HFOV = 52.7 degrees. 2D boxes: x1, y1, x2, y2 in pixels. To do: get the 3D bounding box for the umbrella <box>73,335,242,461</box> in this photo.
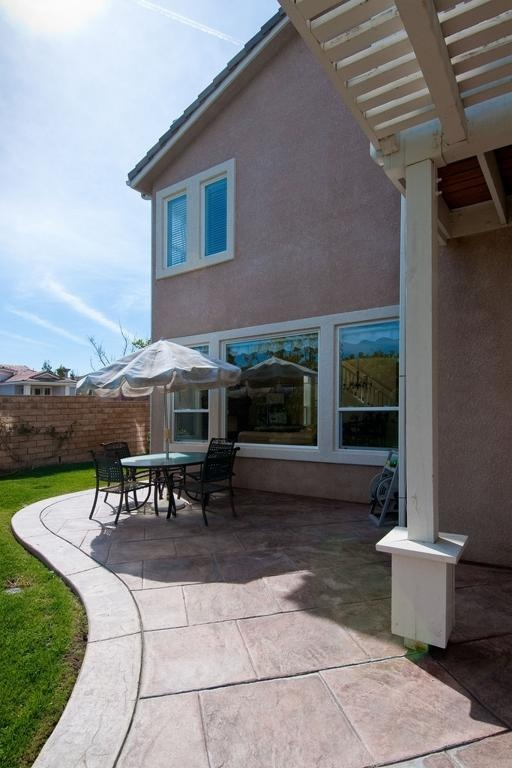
[{"bbox_3d":[-1.152,0.186,6.483,1.550,1.497,1.519,-2,-1,33],"label":"umbrella"}]
